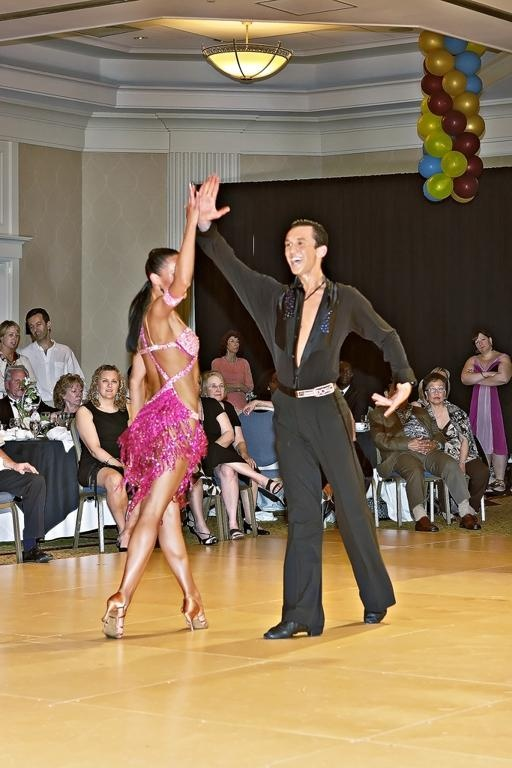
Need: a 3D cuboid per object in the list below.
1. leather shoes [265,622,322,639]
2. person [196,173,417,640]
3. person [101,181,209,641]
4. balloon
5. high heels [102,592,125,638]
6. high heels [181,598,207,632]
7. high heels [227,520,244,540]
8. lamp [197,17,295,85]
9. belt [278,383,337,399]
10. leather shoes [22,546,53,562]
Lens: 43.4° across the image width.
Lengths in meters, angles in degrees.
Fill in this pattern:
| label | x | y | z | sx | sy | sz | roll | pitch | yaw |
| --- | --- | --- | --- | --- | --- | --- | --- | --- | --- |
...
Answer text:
| label | x | y | z | sx | sy | sz | roll | pitch | yaw |
| --- | --- | --- | --- | --- | --- | --- | --- | --- | --- |
| leather shoes | 0.133 | 0.953 | 2.498 | 0.231 | 0.062 | 0.103 | 4 | -8 | -18 |
| person | 0.180 | 0.182 | 2.586 | 0.815 | 1.607 | 0.425 | 2 | -8 | -4 |
| person | -0.347 | 0.100 | 2.585 | 0.405 | 1.785 | 0.660 | 4 | -8 | -23 |
| balloon | 2.074 | -2.899 | 6.904 | 0.677 | 1.578 | 1.027 | -1 | -8 | 15 |
| high heels | -0.543 | 0.892 | 2.508 | 0.070 | 0.202 | 0.083 | 5 | 15 | 14 |
| high heels | -0.253 | 0.934 | 2.598 | 0.064 | 0.065 | 0.169 | -1 | -5 | 5 |
| high heels | -0.190 | 1.256 | 5.521 | 0.144 | 0.082 | 0.359 | 0 | -3 | -6 |
| lamp | -0.139 | -3.735 | 7.189 | 0.840 | 0.550 | 0.820 | -15 | 22 | -38 |
| belt | 0.197 | 0.029 | 2.526 | 0.227 | 0.065 | 0.095 | 1 | -8 | 2 |
| leather shoes | -1.574 | 1.231 | 4.637 | 0.224 | 0.148 | 0.093 | -10 | -16 | 28 |
